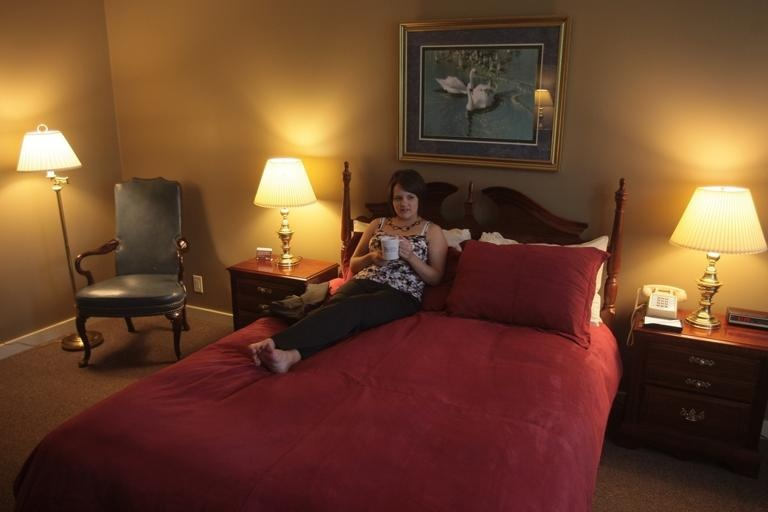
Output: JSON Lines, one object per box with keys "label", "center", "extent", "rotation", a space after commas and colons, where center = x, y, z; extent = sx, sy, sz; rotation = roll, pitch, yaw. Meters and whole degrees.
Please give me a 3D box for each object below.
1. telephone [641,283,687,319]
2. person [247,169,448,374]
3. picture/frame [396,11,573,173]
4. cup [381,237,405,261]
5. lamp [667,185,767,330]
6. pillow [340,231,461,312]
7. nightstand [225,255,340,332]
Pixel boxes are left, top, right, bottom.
{"label": "telephone", "center": [1.924, 0.282, 3.698], "extent": [0.263, 0.126, 0.240], "rotation": [6, 25, 24]}
{"label": "person", "center": [-0.186, 0.048, 3.573], "extent": [0.714, 0.990, 1.789], "rotation": [11, 20, 27]}
{"label": "picture/frame", "center": [0.792, -1.260, 3.990], "extent": [1.267, 1.036, 0.062], "rotation": [4, 15, 17]}
{"label": "cup", "center": [0.075, -0.054, 3.609], "extent": [0.104, 0.138, 0.164], "rotation": [0, 6, 15]}
{"label": "lamp", "center": [2.176, 0.005, 3.571], "extent": [0.536, 0.917, 0.320], "rotation": [4, 14, 11]}
{"label": "pillow", "center": [0.178, 0.200, 4.031], "extent": [0.876, 0.643, 0.606], "rotation": [2, 8, 13]}
{"label": "nightstand", "center": [-0.885, 0.406, 4.645], "extent": [0.723, 0.691, 0.485], "rotation": [8, 17, 19]}
